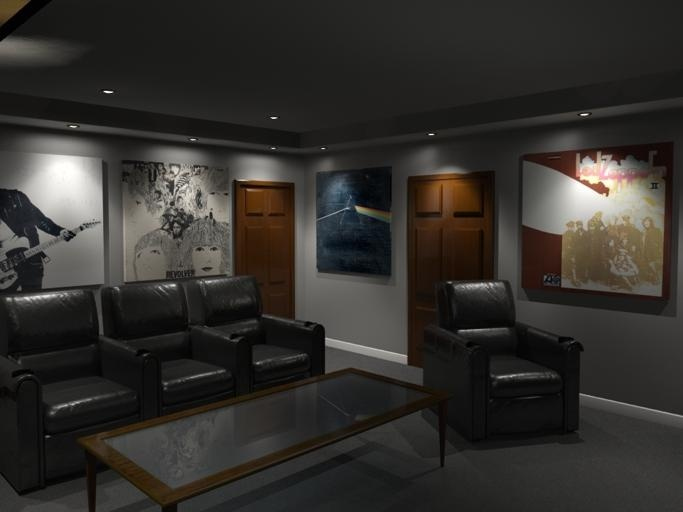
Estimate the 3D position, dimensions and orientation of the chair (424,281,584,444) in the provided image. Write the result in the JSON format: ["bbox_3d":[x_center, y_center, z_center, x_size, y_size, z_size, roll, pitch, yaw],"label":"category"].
[{"bbox_3d":[1.464,0.907,4.256,1.179,1.142,1.213,0,2,0],"label":"chair"}]
